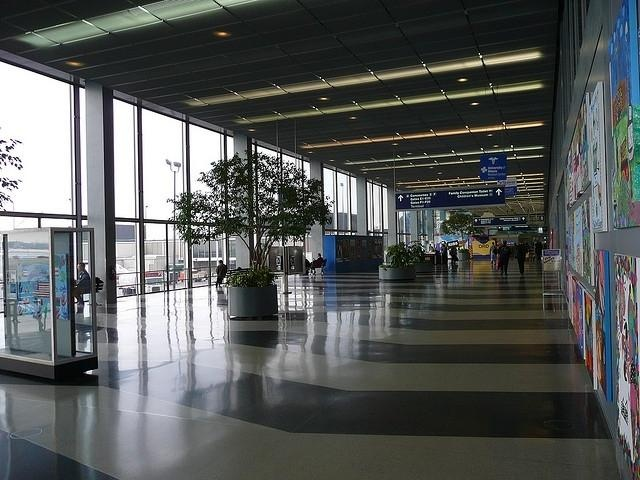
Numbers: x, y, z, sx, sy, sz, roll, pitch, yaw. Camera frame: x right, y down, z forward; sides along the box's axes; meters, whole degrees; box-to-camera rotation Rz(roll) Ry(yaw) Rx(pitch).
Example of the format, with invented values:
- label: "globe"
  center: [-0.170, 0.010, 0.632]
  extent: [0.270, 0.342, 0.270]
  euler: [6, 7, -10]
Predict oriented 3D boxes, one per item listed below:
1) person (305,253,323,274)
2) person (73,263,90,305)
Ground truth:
- label: "person"
  center: [-0.344, 1.574, 31.484]
  extent: [1.307, 1.365, 1.034]
  euler: [2, -2, 8]
- label: "person"
  center: [-3.650, 0.681, 7.571]
  extent: [0.200, 0.710, 0.259]
  euler: [-2, 0, 6]
